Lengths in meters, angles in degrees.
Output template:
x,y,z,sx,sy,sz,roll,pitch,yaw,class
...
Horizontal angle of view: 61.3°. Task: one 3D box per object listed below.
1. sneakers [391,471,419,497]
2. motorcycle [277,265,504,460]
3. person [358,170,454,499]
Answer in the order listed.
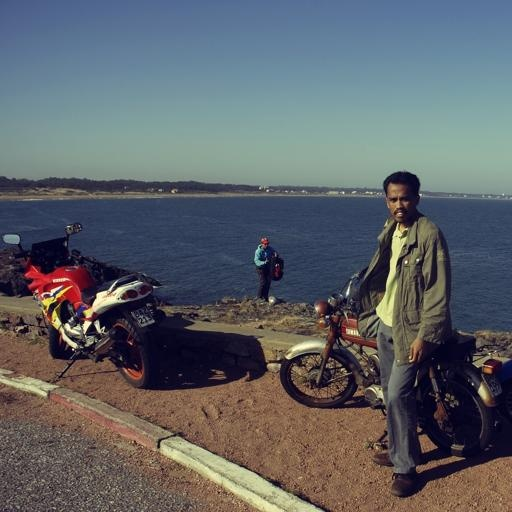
x,y,z,sx,sy,sz,roll,pitch,yaw,class
1.167,1.784,3.392,0.105,0.099,0.278,-7,-10,27,sneakers
1.486,0.932,4.804,1.214,1.659,2.725,-29,24,-31,motorcycle
1.203,0.567,3.558,0.645,2.511,1.017,1,8,11,person
